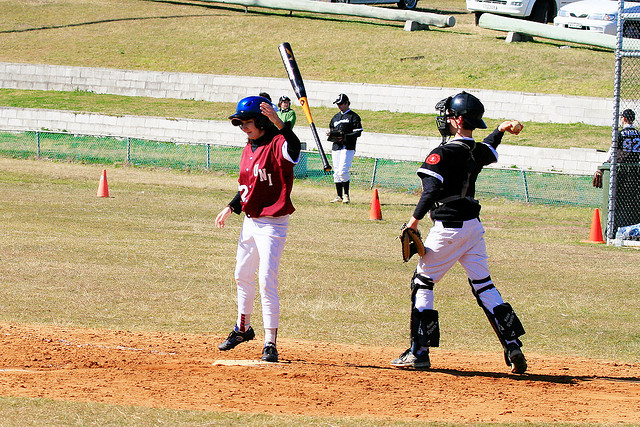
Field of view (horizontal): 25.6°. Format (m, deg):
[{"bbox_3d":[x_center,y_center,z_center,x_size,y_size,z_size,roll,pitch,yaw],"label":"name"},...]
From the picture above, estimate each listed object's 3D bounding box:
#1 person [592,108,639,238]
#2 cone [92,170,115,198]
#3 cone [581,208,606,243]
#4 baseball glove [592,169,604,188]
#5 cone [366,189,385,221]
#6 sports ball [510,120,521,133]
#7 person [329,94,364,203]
[{"bbox_3d":[8.558,-1.113,40.331,1.148,3.721,0.787,2,8,-6],"label":"person"},{"bbox_3d":[-6.509,-0.893,42.579,0.594,0.862,0.797,1,8,-13],"label":"cone"},{"bbox_3d":[7.823,0.406,40.536,0.626,0.998,0.531,1,8,-16],"label":"cone"},{"bbox_3d":[7.929,-0.990,40.657,0.155,0.401,0.440,7,-2,-40],"label":"baseball glove"},{"bbox_3d":[1.656,-0.231,42.228,0.443,0.944,0.916,3,8,1],"label":"cone"},{"bbox_3d":[4.667,-2.090,34.030,0.223,0.252,0.235,-5,9,1],"label":"sports ball"},{"bbox_3d":[0.783,-2.012,43.226,1.278,3.084,1.041,1,0,9],"label":"person"}]
